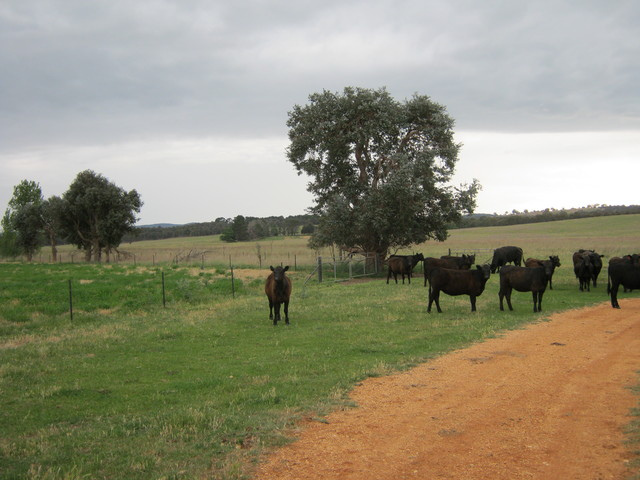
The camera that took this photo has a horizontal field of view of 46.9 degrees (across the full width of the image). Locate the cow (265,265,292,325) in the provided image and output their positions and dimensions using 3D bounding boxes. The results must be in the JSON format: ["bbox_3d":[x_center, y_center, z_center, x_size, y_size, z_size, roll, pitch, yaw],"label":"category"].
[{"bbox_3d":[-1.757,2.249,31.442,1.014,2.494,2.007,-2,7,-5],"label":"cow"}]

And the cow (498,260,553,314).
[{"bbox_3d":[9.130,2.098,32.815,2.621,2.193,1.172,-4,-3,33],"label":"cow"}]

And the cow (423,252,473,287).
[{"bbox_3d":[7.009,1.659,40.352,2.721,1.839,0.878,-1,11,9],"label":"cow"}]

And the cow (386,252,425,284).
[{"bbox_3d":[4.967,1.782,44.010,0.919,1.690,2.867,3,-8,-35],"label":"cow"}]
